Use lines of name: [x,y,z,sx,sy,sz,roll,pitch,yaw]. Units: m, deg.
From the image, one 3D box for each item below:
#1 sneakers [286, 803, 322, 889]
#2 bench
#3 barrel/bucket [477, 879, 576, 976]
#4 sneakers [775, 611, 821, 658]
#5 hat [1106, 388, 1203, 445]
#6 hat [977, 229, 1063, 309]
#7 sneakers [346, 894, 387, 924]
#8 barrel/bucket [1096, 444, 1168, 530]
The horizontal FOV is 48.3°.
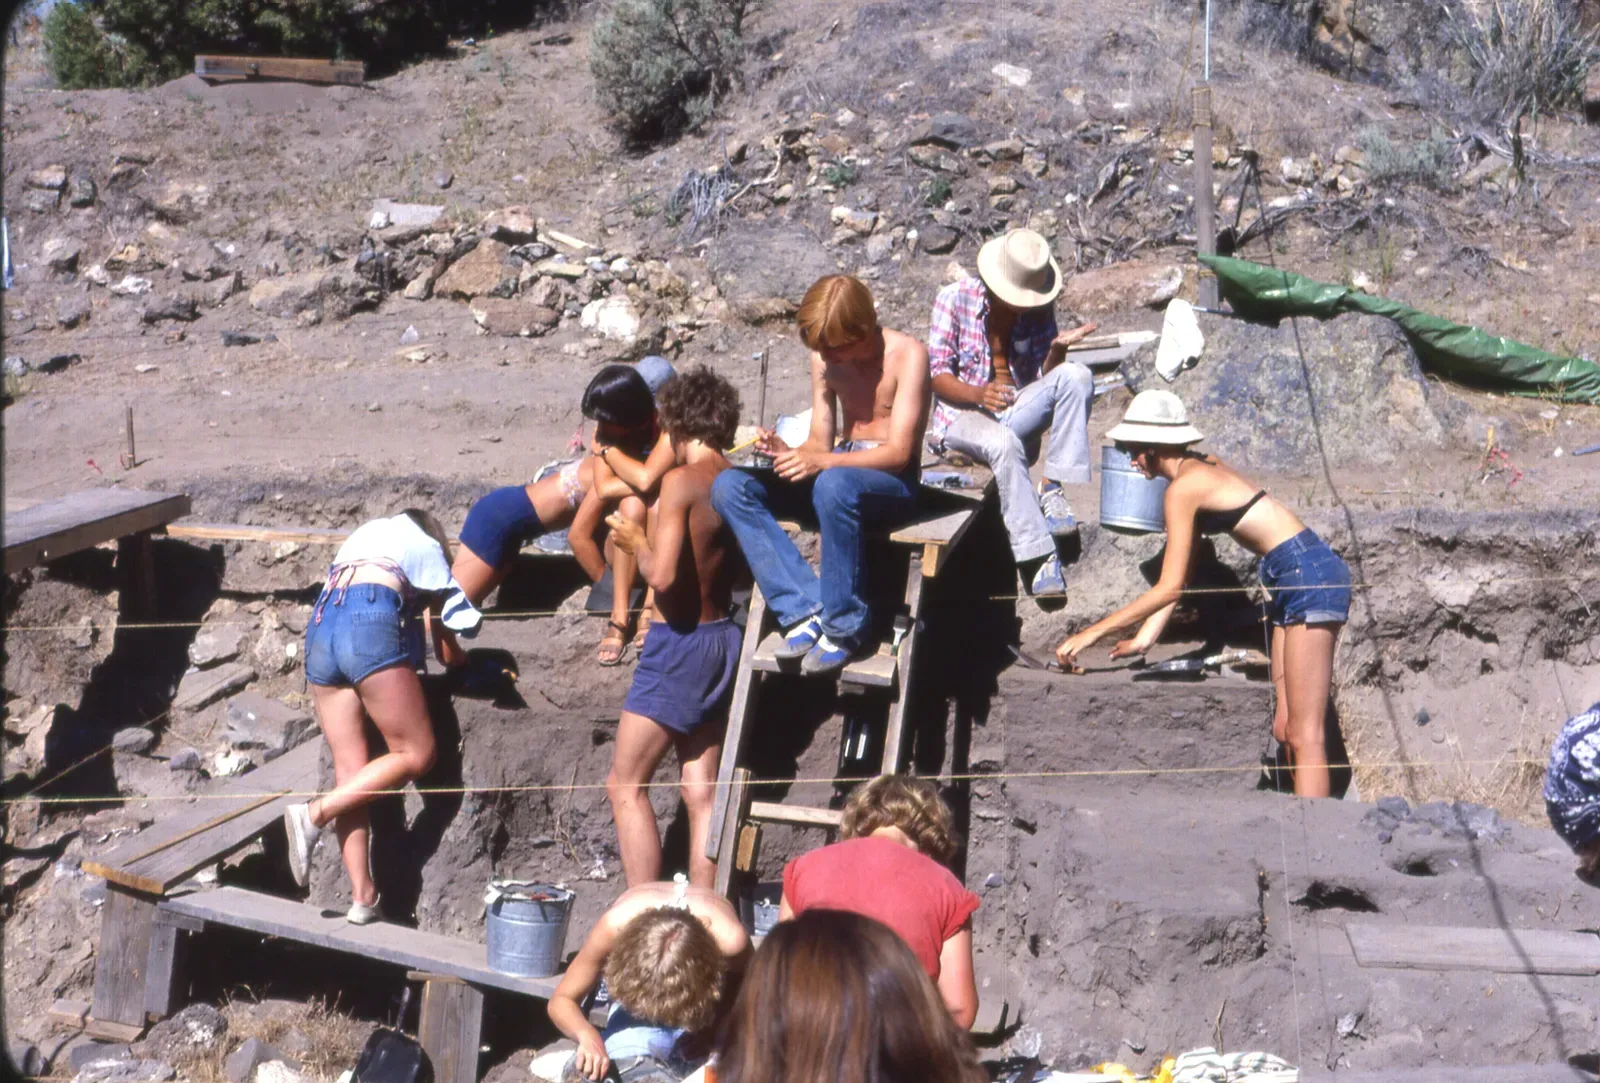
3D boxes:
sneakers: [-3.849,2.259,13.928,0.186,0.483,0.154,-27,50,-23]
bench: [0.320,0.864,14.681,1.956,3.538,2.987,3,2,8]
barrel/bucket: [-2.100,2.965,13.613,0.664,0.655,0.717,7,-9,1]
sneakers: [0.001,0.708,13.282,0.459,0.187,0.179,-43,25,15]
hat: [2.747,-0.943,14.140,0.523,0.275,0.518,-3,4,-25]
hat: [1.744,-2.165,14.425,0.607,0.658,0.246,-6,-17,-27]
sneakers: [-3.383,2.873,13.867,0.321,0.139,0.138,5,-8,-33]
barrel/bucket: [2.633,-0.414,14.318,0.602,0.665,0.619,1,1,0]
